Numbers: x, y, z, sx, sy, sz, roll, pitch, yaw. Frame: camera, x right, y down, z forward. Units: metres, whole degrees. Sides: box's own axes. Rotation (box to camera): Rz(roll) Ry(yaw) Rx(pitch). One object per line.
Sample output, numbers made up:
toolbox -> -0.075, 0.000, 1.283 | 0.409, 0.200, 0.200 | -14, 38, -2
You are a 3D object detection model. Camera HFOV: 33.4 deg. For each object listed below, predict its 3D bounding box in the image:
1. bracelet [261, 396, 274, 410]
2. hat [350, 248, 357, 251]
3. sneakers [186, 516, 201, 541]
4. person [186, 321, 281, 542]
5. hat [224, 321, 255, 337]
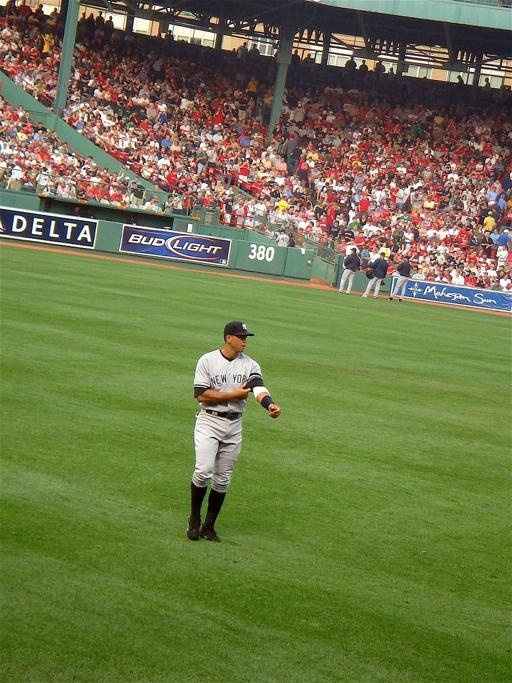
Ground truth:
bracelet -> 0.068, 0.400, 5.585 | 0.069, 0.045, 0.105 | -16, -11, -2
hat -> 3.458, -3.215, 29.740 | 0.262, 0.079, 0.307 | 3, -1, 3
sneakers -> -0.426, 1.270, 5.820 | 0.124, 0.177, 0.060 | -7, -32, 21
person -> -0.232, 0.607, 5.764 | 0.512, 1.164, 0.439 | 11, 4, -5
hat -> -0.129, -0.087, 5.729 | 0.198, 0.085, 0.117 | -3, 3, 19
